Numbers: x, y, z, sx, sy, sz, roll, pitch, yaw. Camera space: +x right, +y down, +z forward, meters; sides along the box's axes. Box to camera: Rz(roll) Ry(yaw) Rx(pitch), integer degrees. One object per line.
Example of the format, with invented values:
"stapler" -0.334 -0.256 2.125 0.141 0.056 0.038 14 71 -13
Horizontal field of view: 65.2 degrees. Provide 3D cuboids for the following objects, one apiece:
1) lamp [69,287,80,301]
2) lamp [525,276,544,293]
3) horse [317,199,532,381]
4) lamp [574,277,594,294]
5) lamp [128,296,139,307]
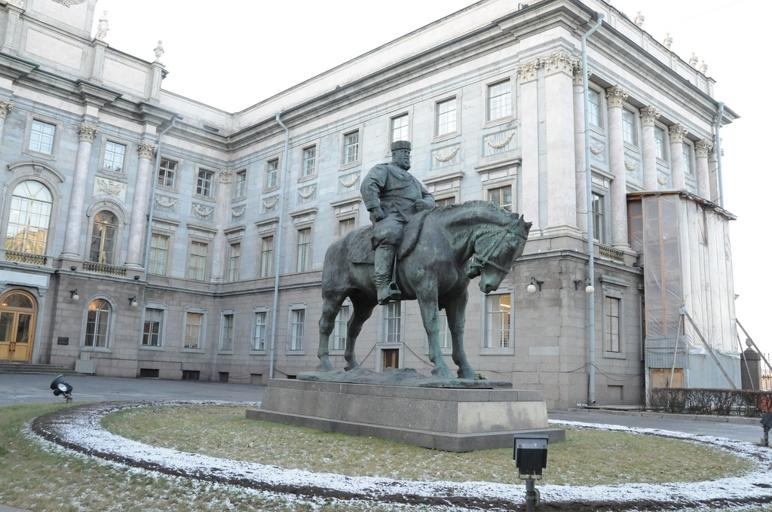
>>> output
"lamp" -15.437 1.925 29.839 0.375 0.552 0.503 2 -13 -3
"lamp" 5.347 1.100 22.474 0.368 0.600 0.991 -10 -13 39
"horse" 0.639 0.781 12.205 1.690 3.284 5.239 17 -17 -43
"lamp" 7.296 1.056 22.314 0.676 0.681 1.319 -2 -12 17
"lamp" -13.242 2.374 31.606 0.527 0.569 0.227 9 -15 -31
